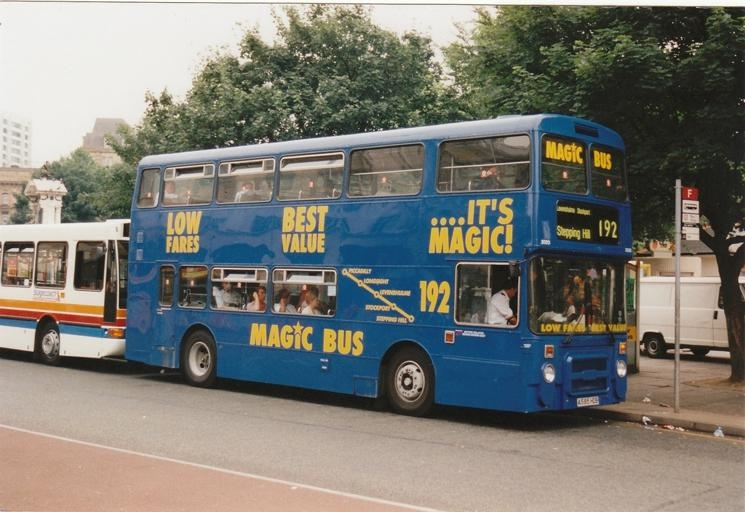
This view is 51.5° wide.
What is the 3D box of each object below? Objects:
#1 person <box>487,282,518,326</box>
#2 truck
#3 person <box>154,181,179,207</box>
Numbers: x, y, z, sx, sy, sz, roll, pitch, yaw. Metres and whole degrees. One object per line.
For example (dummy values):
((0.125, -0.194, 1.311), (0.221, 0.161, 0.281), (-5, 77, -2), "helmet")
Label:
((2.439, 0.874, 14.340), (0.487, 0.780, 0.602), (1, 15, -17), "person")
((11.909, 2.196, 28.422), (2.531, 2.610, 4.359), (5, -7, -44), "truck")
((-5.003, -1.535, 18.979), (0.600, 0.575, 1.031), (1, 2, -22), "person")
